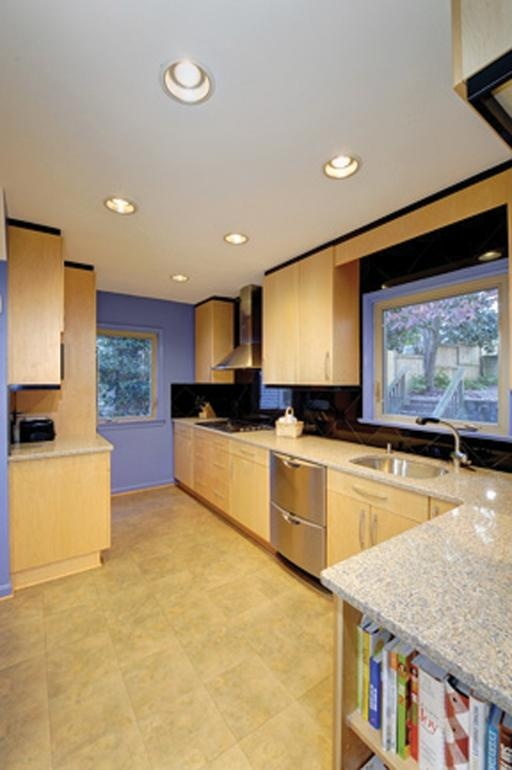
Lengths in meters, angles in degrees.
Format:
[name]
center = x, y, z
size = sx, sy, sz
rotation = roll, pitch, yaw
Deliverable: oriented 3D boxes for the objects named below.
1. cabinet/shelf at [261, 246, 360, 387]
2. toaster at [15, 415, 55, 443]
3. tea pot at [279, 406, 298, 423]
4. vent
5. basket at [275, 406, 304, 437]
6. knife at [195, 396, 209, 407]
[cabinet/shelf]
center = 0.341, -0.415, 3.198
size = 0.251, 0.800, 0.735
rotation = -1, 1, -28
[toaster]
center = -1.305, 0.267, 3.203
size = 0.222, 0.141, 0.209
rotation = -3, 7, -23
[tea pot]
center = 0.228, 0.202, 3.561
size = 0.078, 0.129, 0.112
rotation = 5, -6, -35
[vent]
center = -0.030, -0.438, 4.256
size = 0.458, 0.610, 0.497
rotation = 1, 3, 31
[basket]
center = 0.208, 0.244, 3.524
size = 0.137, 0.215, 0.194
rotation = 0, 4, -32
[knife]
center = -0.524, 0.162, 5.178
size = 0.126, 0.125, 0.068
rotation = -1, 6, -12
